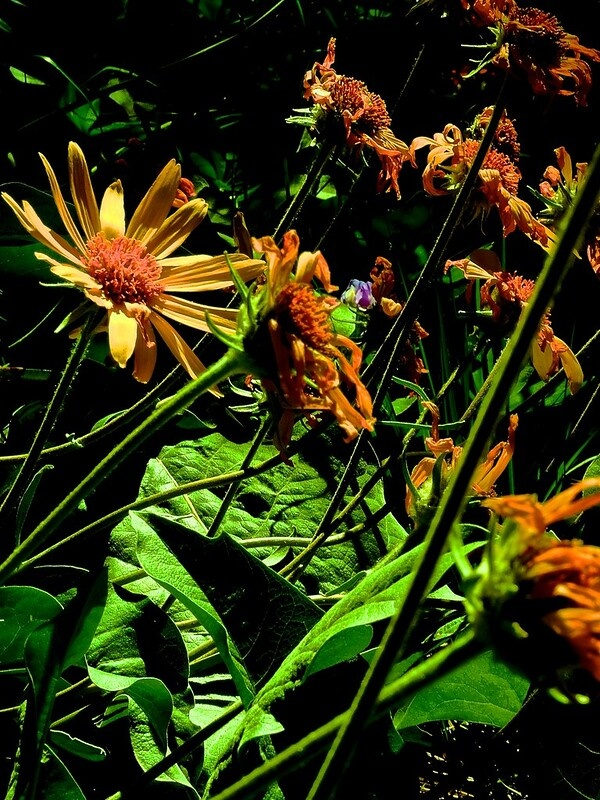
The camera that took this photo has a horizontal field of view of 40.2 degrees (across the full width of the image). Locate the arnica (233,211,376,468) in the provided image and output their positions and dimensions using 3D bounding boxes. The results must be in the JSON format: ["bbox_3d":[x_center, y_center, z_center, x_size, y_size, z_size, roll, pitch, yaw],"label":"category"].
[{"bbox_3d":[-0.015,-0.039,0.560,0.063,0.145,0.146,-13,10,10],"label":"arnica"}]

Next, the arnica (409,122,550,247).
[{"bbox_3d":[0.215,-0.250,0.999,0.161,0.061,0.157,24,9,-10],"label":"arnica"}]

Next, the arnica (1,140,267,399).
[{"bbox_3d":[-0.126,-0.117,0.676,0.176,0.157,0.262,25,8,-8],"label":"arnica"}]

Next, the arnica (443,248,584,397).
[{"bbox_3d":[0.233,-0.084,0.924,0.162,0.078,0.156,44,4,24],"label":"arnica"}]
